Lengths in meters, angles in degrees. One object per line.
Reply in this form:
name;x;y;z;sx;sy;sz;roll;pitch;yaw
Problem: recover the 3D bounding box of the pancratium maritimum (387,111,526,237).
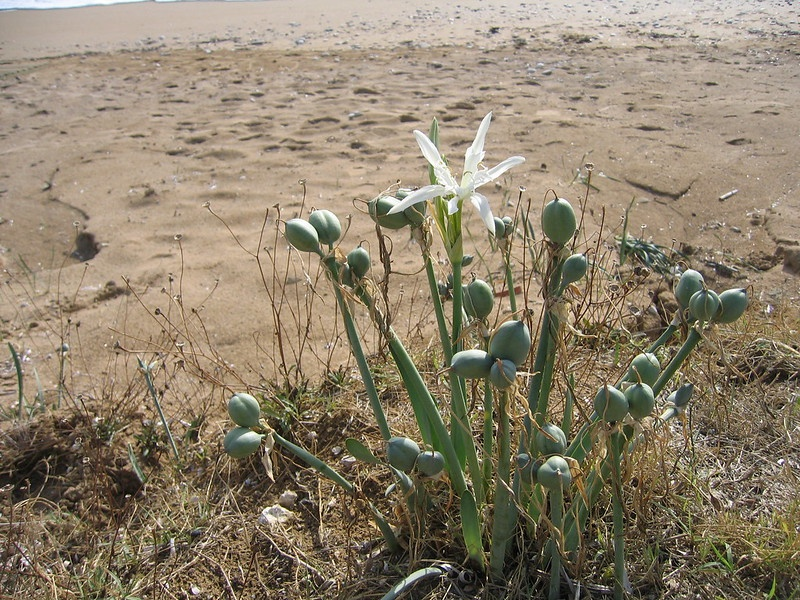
pancratium maritimum;0.197;-0.347;1.900;0.362;0.133;0.332;-11;-1;-23
